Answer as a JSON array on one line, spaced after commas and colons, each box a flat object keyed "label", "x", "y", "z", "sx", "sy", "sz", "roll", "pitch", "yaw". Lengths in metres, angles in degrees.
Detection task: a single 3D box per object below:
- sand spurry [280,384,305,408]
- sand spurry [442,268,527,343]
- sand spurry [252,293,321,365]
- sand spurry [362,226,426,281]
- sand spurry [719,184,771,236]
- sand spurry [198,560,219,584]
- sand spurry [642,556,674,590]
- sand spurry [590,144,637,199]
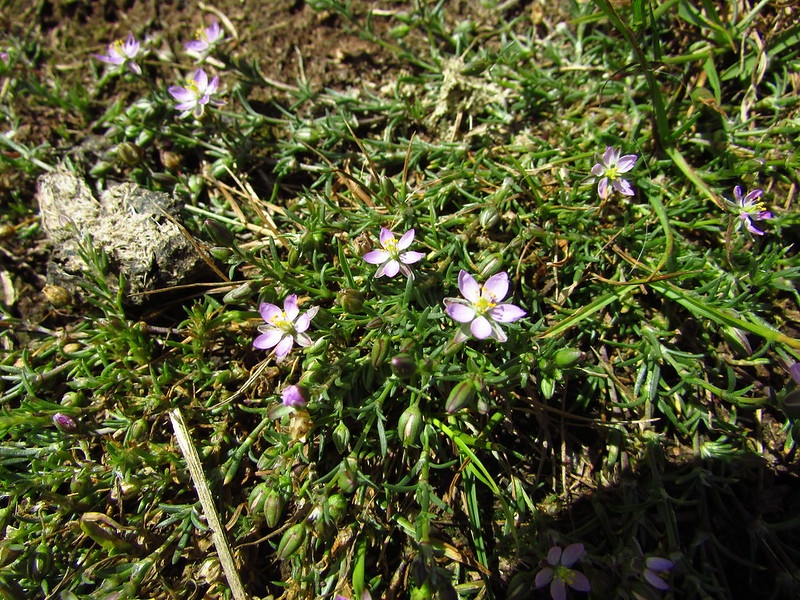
[{"label": "sand spurry", "x": -0.519, "y": 0.476, "z": 3.130, "sx": 0.106, "sy": 0.109, "sz": 0.096, "roll": 28, "pitch": 66, "yaw": -21}, {"label": "sand spurry", "x": 0.419, "y": 0.005, "z": 3.141, "sx": 0.337, "sy": 0.171, "sz": 0.375, "roll": 6, "pitch": 25, "yaw": 30}, {"label": "sand spurry", "x": -0.599, "y": 0.145, "z": 3.257, "sx": 0.298, "sy": 0.148, "sz": 0.367, "roll": 2, "pitch": 88, "yaw": 11}, {"label": "sand spurry", "x": -0.032, "y": -0.291, "z": 3.411, "sx": 0.280, "sy": 0.301, "sz": 0.126, "roll": 2, "pitch": 71, "yaw": 6}, {"label": "sand spurry", "x": 1.913, "y": -0.496, "z": 3.461, "sx": 0.280, "sy": 0.132, "sz": 0.298, "roll": 9, "pitch": 70, "yaw": -19}, {"label": "sand spurry", "x": -0.971, "y": 1.393, "z": 3.239, "sx": 0.094, "sy": 0.079, "sz": 0.117, "roll": -8, "pitch": 81, "yaw": 5}, {"label": "sand spurry", "x": 1.289, "y": 1.374, "z": 3.177, "sx": 0.157, "sy": 0.123, "sz": 0.155, "roll": 16, "pitch": 79, "yaw": 8}, {"label": "sand spurry", "x": 1.162, "y": -0.703, "z": 3.472, "sx": 0.238, "sy": 0.287, "sz": 0.125, "roll": -2, "pitch": 19, "yaw": 5}]
